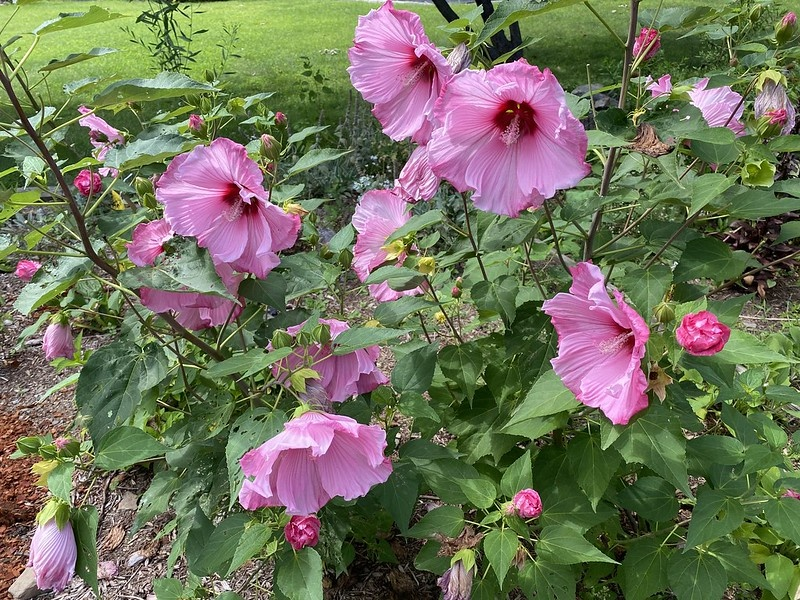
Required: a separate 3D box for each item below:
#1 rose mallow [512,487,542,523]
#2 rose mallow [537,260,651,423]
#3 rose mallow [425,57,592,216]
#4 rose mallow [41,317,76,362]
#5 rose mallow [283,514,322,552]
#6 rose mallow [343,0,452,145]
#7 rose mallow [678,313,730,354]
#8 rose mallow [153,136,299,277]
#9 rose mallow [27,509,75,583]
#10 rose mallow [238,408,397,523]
[{"bbox_3d":[0.399,0.636,1.866,0.085,0.102,0.091,-19,80,-9],"label":"rose mallow"},{"bbox_3d":[0.570,0.100,1.656,0.234,0.348,0.341,-32,43,-27],"label":"rose mallow"},{"bbox_3d":[0.322,-0.467,1.634,0.376,0.173,0.410,26,73,2],"label":"rose mallow"},{"bbox_3d":[-1.263,0.138,2.185,0.097,0.160,0.097,3,0,-6],"label":"rose mallow"},{"bbox_3d":[-0.298,0.715,1.818,0.105,0.111,0.066,-10,13,-9],"label":"rose mallow"},{"bbox_3d":[0.003,-0.666,1.721,0.361,0.384,0.162,7,37,17],"label":"rose mallow"},{"bbox_3d":[0.854,0.086,1.682,0.115,0.078,0.127,-4,34,16],"label":"rose mallow"},{"bbox_3d":[-0.538,-0.370,1.904,0.424,0.211,0.420,-30,3,15],"label":"rose mallow"},{"bbox_3d":[-1.114,0.792,1.893,0.134,0.094,0.228,13,69,-32],"label":"rose mallow"},{"bbox_3d":[-0.258,0.497,1.739,0.352,0.367,0.177,2,44,-32],"label":"rose mallow"}]
